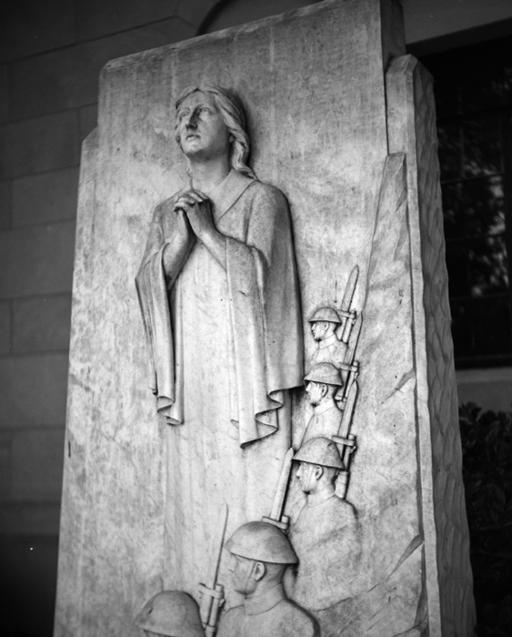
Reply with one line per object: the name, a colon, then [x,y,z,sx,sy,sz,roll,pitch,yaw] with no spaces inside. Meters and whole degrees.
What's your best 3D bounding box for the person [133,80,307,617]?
person: [-0.162,0.070,5.089,0.776,2.239,0.268,-5,-6,28]
